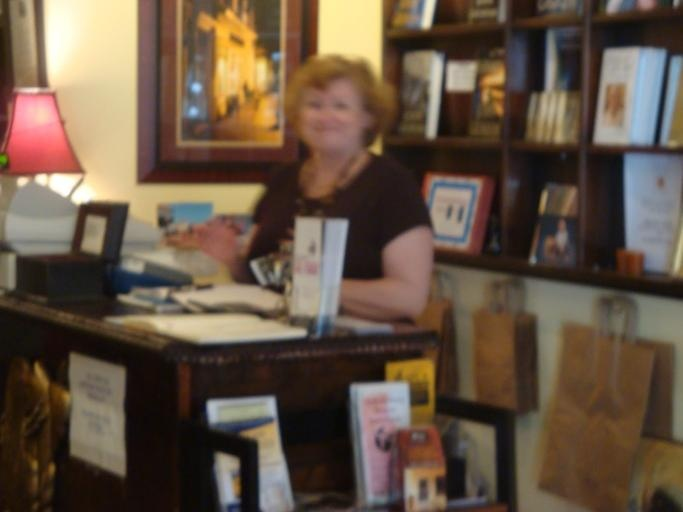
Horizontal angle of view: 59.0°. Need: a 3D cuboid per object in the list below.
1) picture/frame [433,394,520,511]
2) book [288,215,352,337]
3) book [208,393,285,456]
[{"bbox_3d":[0.291,0.420,1.316,0.181,0.211,0.139,5,15,10],"label":"picture/frame"},{"bbox_3d":[-0.047,0.037,1.234,0.120,0.230,0.054,5,7,4],"label":"book"},{"bbox_3d":[-0.196,0.311,1.191,0.141,0.069,0.025,-3,15,-20],"label":"book"}]
